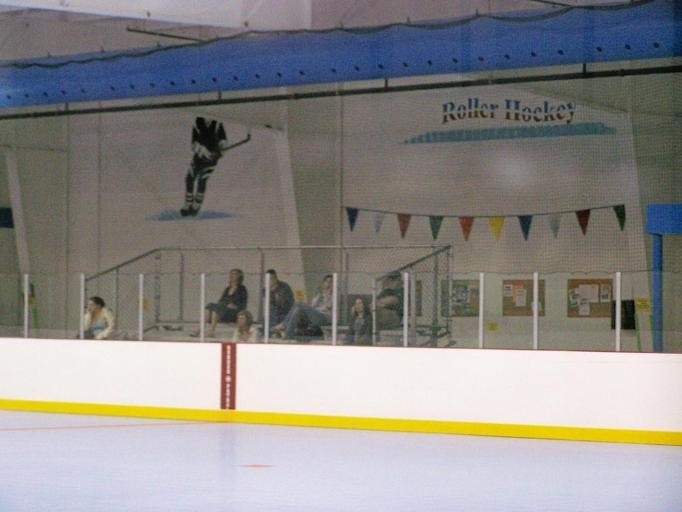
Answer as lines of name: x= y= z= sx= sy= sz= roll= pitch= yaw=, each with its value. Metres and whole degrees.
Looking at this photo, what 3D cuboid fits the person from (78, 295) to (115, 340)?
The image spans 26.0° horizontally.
person: x=-3.624 y=0.940 z=21.960 sx=0.756 sy=0.678 sz=0.436 roll=-9 pitch=-17 yaw=38
